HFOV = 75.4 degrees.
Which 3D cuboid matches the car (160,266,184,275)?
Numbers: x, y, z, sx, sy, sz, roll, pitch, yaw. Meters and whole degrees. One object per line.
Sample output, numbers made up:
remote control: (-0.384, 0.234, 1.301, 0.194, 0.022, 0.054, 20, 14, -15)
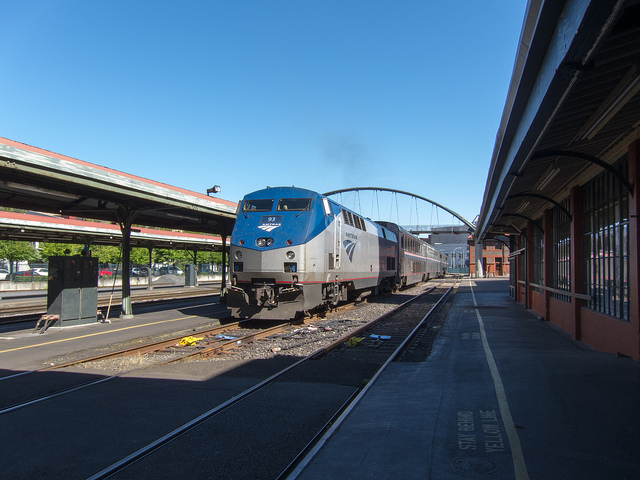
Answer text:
car: (-28.855, 5.959, 81.666, 4.288, 1.846, 2.426, -3, 0, -15)
